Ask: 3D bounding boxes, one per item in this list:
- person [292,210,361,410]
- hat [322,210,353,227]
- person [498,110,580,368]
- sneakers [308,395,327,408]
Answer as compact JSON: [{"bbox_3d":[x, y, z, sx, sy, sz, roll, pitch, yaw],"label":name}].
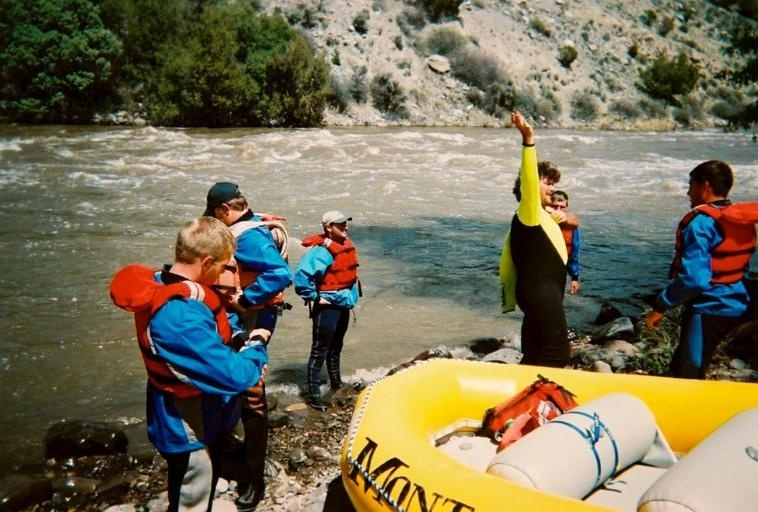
[{"bbox_3d":[-0.664,0.683,8.569,0.848,2.456,0.529,-12,15,-43],"label":"person"},{"bbox_3d":[-0.641,-0.467,8.634,0.542,0.201,0.351,-3,2,12],"label":"hat"},{"bbox_3d":[1.635,-0.134,7.101,0.710,2.685,0.413,0,11,8],"label":"person"},{"bbox_3d":[-0.799,1.844,8.632,0.270,0.109,0.126,10,24,32],"label":"sneakers"}]
